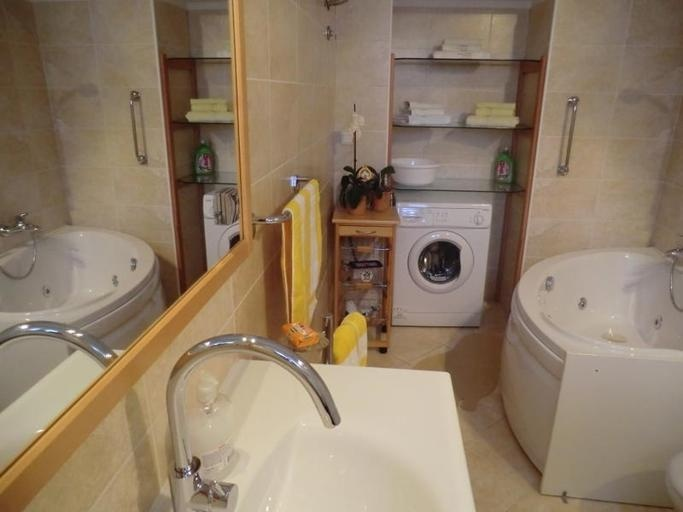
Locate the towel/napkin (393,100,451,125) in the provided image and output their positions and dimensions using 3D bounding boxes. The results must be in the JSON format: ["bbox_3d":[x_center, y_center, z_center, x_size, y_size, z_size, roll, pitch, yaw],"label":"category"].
[{"bbox_3d":[0.547,-0.964,3.515,0.374,0.159,0.243,8,16,20],"label":"towel/napkin"}]

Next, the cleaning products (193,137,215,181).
[{"bbox_3d":[-0.307,-0.215,1.146,0.028,0.114,0.067,9,31,9],"label":"cleaning products"}]

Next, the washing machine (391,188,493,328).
[{"bbox_3d":[0.700,-0.048,3.805,0.666,0.977,0.647,2,29,8],"label":"washing machine"}]

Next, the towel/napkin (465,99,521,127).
[{"bbox_3d":[1.038,-0.964,3.534,0.336,0.177,0.328,7,16,17],"label":"towel/napkin"}]

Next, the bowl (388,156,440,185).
[{"bbox_3d":[0.508,-0.592,3.659,0.314,0.174,0.322,2,15,-1],"label":"bowl"}]

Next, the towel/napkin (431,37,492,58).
[{"bbox_3d":[0.784,-1.351,3.394,0.357,0.136,0.196,5,16,12],"label":"towel/napkin"}]

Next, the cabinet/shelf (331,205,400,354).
[{"bbox_3d":[0.147,0.125,3.443,0.416,0.911,0.645,3,15,5],"label":"cabinet/shelf"}]

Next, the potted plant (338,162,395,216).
[{"bbox_3d":[0.127,-0.447,3.241,0.306,0.230,0.318,-3,16,-15],"label":"potted plant"}]

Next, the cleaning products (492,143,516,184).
[{"bbox_3d":[1.155,-0.624,3.710,0.132,0.311,0.103,4,-21,19],"label":"cleaning products"}]
